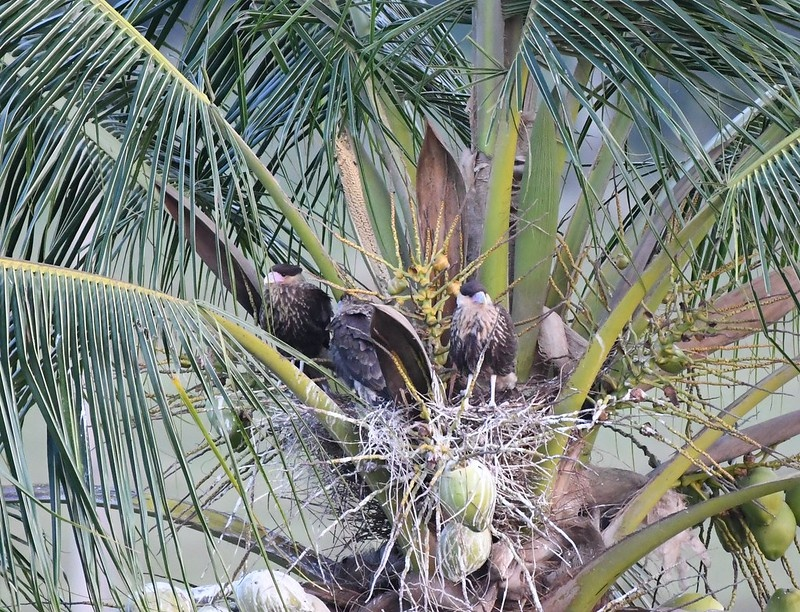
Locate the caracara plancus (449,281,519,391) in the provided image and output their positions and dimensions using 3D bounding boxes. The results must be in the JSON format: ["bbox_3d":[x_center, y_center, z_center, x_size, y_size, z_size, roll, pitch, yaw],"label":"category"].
[{"bbox_3d":[0.116,0.040,2.405,0.072,0.206,0.174,-4,4,9],"label":"caracara plancus"}]

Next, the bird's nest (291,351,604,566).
[{"bbox_3d":[0.112,0.235,2.314,0.346,0.278,0.318,-11,21,4],"label":"bird's nest"}]
